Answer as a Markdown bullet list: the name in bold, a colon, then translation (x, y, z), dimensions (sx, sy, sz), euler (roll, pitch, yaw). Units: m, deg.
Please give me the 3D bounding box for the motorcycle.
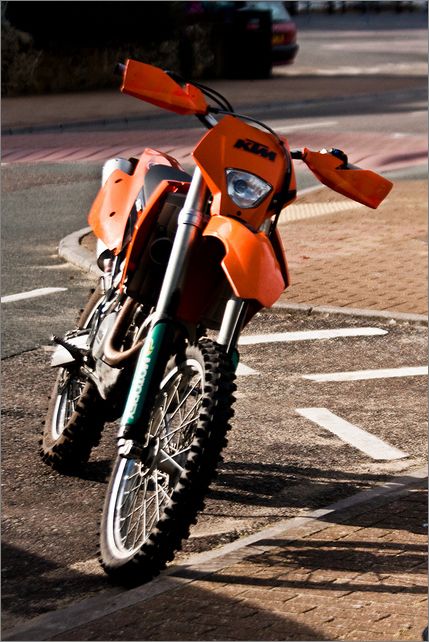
- **motorcycle**: translation (-0.117, -0.089, 2.575), dimensions (1.041, 1.291, 1.435), euler (-5, 2, -22)
